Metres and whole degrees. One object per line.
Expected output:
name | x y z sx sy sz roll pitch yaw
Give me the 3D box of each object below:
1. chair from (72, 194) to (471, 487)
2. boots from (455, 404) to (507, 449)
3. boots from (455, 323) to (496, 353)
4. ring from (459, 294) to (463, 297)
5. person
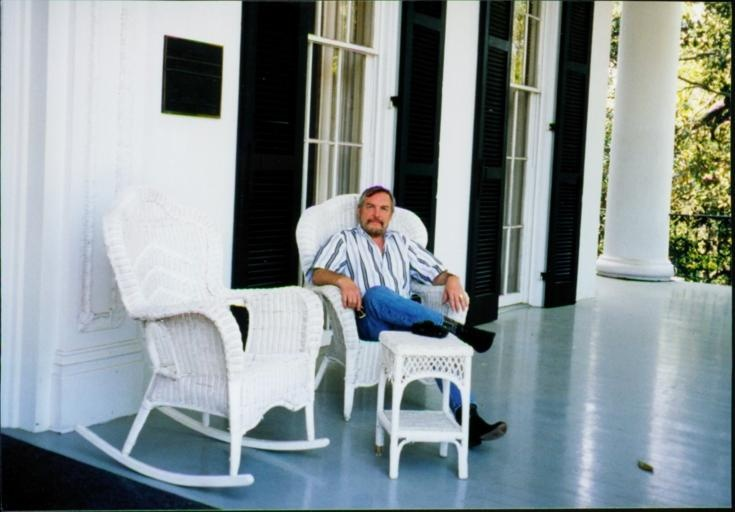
chair | -0.744 0.349 3.032 0.927 1.285 0.752 6 9 28
boots | 0.597 0.851 3.162 0.093 0.181 0.238 12 -34 -45
boots | 0.576 0.439 3.344 0.204 0.124 0.085 25 9 14
ring | 0.544 0.240 3.665 0.015 0.015 0.004 1 -5 -12
person | 0.176 0.330 3.791 0.924 1.059 1.533 4 24 -36
